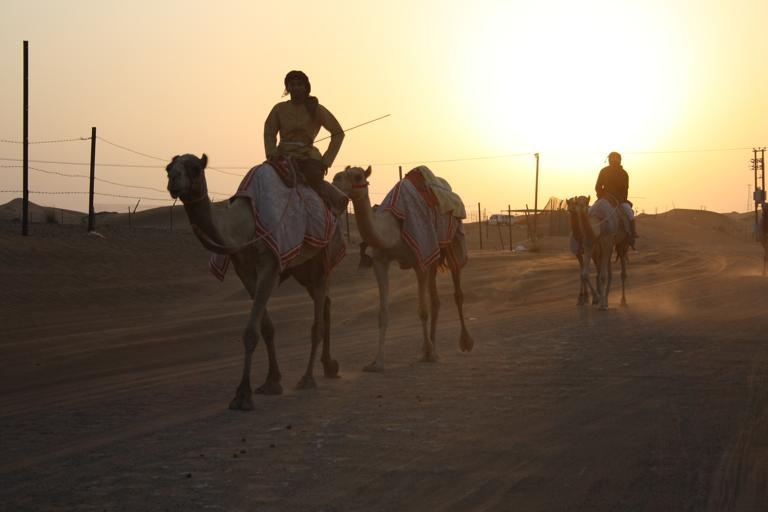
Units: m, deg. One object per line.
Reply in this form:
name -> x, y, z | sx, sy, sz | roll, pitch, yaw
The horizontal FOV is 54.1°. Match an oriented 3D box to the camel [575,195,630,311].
camel -> 5.428, -0.162, 18.760 | 1.346, 2.872, 4.653 | -1, 7, 18

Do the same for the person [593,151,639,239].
person -> 5.981, -1.459, 19.603 | 0.848, 2.527, 0.978 | 3, 7, 32
